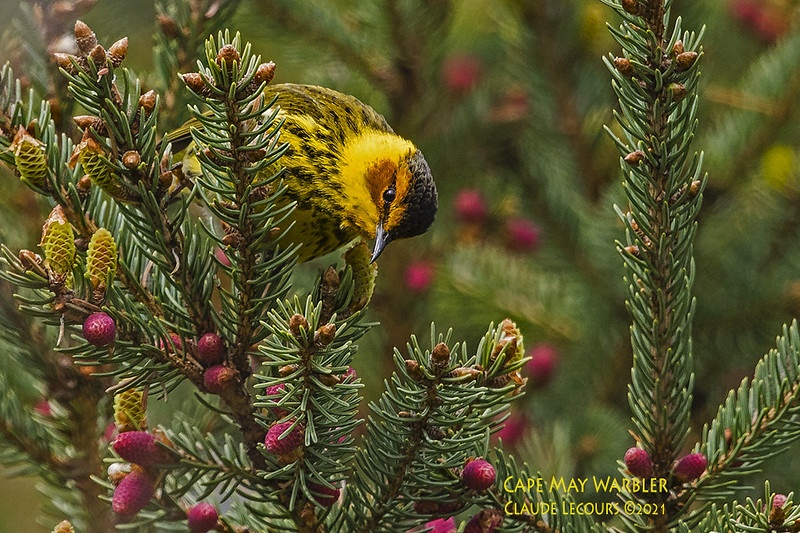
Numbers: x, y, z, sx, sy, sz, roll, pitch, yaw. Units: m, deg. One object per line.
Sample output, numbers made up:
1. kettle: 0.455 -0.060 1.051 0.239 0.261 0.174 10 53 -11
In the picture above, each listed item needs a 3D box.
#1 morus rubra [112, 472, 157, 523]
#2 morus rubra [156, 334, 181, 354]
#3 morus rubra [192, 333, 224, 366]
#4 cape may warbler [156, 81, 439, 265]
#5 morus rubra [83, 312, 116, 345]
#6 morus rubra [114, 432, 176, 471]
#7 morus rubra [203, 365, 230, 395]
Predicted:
1. morus rubra: -0.869 0.736 3.536 0.121 0.149 0.116 -5 8 -9
2. morus rubra: -0.768 0.259 3.622 0.056 0.036 0.058 6 -13 -22
3. morus rubra: -0.631 0.276 3.568 0.089 0.120 0.094 -6 16 -11
4. cape may warbler: -0.445 -0.490 5.061 1.201 0.690 0.743 35 52 21
5. morus rubra: -0.972 0.205 3.516 0.104 0.103 0.103 -2 40 0
6. morus rubra: -0.835 0.598 3.557 0.200 0.108 0.080 1 39 4
7. morus rubra: -0.616 0.373 3.603 0.080 0.098 0.084 -8 -3 19
